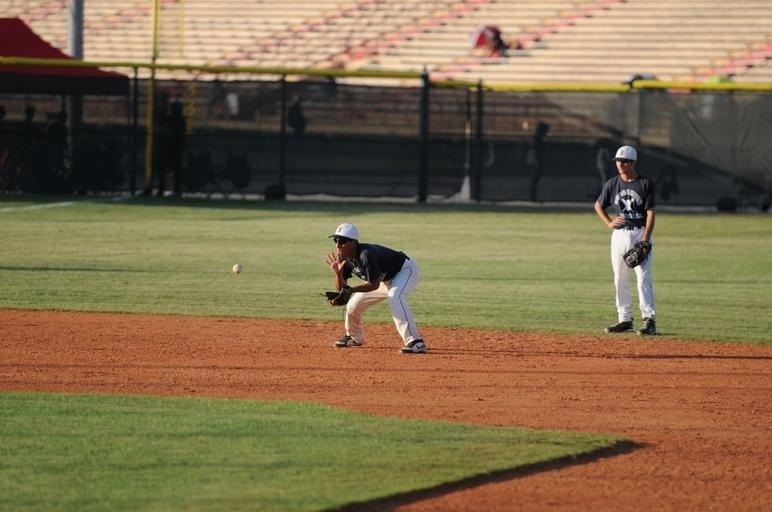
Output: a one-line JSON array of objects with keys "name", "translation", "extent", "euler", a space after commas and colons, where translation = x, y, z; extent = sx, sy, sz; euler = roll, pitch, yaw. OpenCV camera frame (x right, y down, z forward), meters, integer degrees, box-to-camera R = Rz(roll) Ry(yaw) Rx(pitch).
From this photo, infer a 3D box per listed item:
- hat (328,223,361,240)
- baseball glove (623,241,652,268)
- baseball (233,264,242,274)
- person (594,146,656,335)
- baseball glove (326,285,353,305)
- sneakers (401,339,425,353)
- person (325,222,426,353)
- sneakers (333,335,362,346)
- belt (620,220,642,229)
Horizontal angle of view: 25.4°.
[{"name": "hat", "translation": [-0.695, -0.431, 30.160], "extent": [0.481, 0.236, 0.313], "euler": [8, 4, -13]}, {"name": "baseball glove", "translation": [4.568, -0.037, 31.010], "extent": [0.511, 0.381, 0.215], "euler": [-40, -13, 0]}, {"name": "baseball", "translation": [-2.877, 0.255, 33.755], "extent": [0.177, 0.153, 0.166], "euler": [-12, 3, -26]}, {"name": "person", "translation": [4.454, -0.271, 31.261], "extent": [1.020, 3.464, 0.568], "euler": [2, 3, 8]}, {"name": "baseball glove", "translation": [-0.805, 0.704, 30.476], "extent": [0.457, 0.355, 0.519], "euler": [2, 2, -2]}, {"name": "sneakers", "translation": [0.543, 1.621, 30.510], "extent": [0.480, 0.200, 0.190], "euler": [1, -2, -7]}, {"name": "person", "translation": [-0.163, 0.581, 30.520], "extent": [1.668, 2.284, 0.880], "euler": [2, 3, -2]}, {"name": "sneakers", "translation": [-0.677, 1.542, 30.898], "extent": [0.572, 0.224, 0.189], "euler": [3, 4, -4]}, {"name": "belt", "translation": [4.482, -0.582, 31.122], "extent": [0.345, 0.154, 0.061], "euler": [2, 3, 17]}]
